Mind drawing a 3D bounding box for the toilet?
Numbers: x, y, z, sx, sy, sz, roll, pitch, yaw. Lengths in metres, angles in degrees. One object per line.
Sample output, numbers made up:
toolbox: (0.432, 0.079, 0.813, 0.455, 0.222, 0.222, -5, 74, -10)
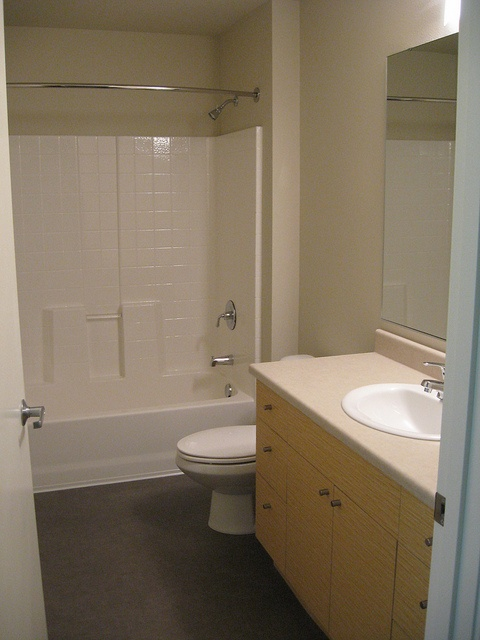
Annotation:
toilet: (-0.043, 0.693, 2.233, 0.402, 0.327, 0.339, -2, 4, -29)

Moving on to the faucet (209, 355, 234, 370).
faucet: (-0.117, 0.254, 3.155, 0.119, 0.063, 0.070, -3, 8, -14)
